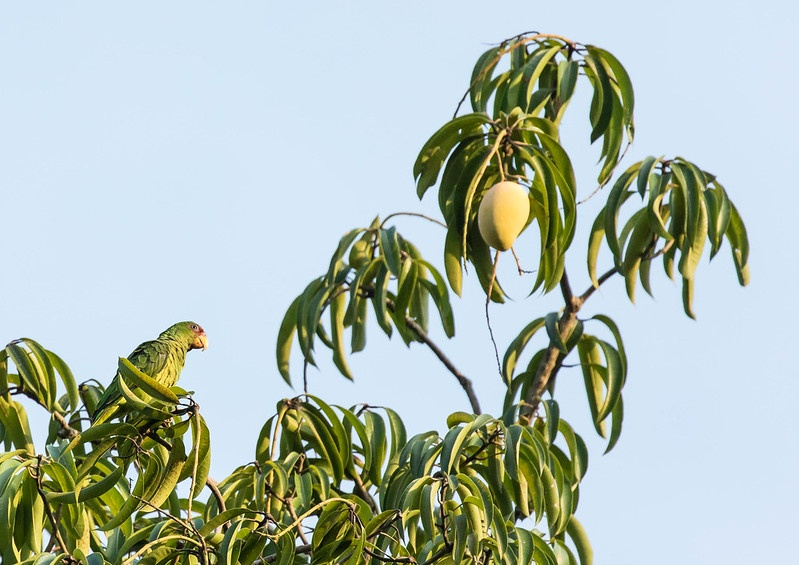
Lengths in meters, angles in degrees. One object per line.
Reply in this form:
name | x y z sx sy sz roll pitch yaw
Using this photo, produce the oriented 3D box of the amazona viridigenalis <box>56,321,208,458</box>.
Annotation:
amazona viridigenalis | -1.173 0.555 7.141 0.345 0.820 0.507 -19 -15 21
